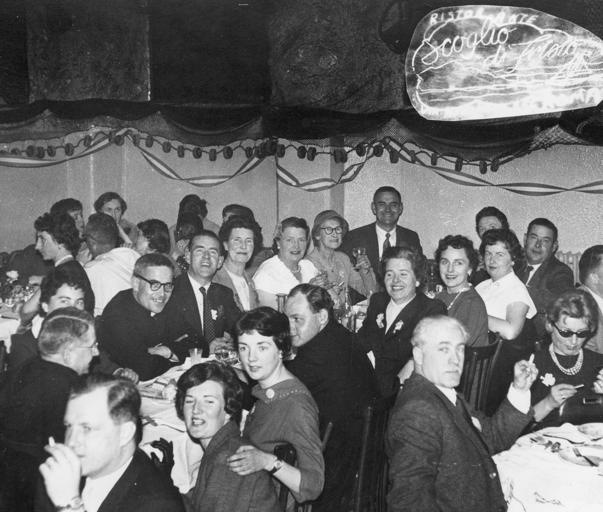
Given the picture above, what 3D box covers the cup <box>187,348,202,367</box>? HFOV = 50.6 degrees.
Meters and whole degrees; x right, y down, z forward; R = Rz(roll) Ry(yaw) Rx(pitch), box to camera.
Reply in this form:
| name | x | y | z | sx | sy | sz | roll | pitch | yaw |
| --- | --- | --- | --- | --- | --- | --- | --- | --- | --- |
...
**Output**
| name | x | y | z | sx | sy | sz | roll | pitch | yaw |
| --- | --- | --- | --- | --- | --- | --- | --- | --- | --- |
| cup | -0.666 | 0.636 | 4.028 | 0.111 | 0.124 | 0.112 | 0 | 0 | 0 |
